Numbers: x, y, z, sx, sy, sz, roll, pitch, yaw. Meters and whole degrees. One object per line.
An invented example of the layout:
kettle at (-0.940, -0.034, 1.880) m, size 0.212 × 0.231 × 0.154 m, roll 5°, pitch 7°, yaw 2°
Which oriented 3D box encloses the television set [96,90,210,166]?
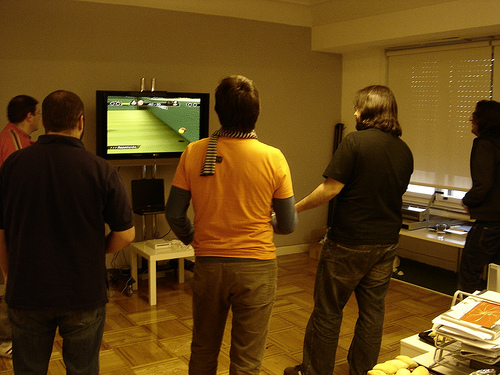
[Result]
television set at (-1.186, -0.731, 5.058) m, size 1.322 × 0.927 × 0.140 m, roll -1°, pitch -4°, yaw -6°

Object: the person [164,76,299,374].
person at (-0.109, 0.228, 2.147) m, size 0.674 × 1.590 × 0.320 m, roll 4°, pitch 9°, yaw 13°

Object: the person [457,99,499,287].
person at (2.190, 0.084, 3.838) m, size 0.272 × 1.779 × 0.382 m, roll -7°, pitch 13°, yaw -44°

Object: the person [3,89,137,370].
person at (-0.884, 0.220, 2.003) m, size 0.600 × 1.376 × 0.287 m, roll -3°, pitch 10°, yaw -26°

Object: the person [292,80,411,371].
person at (0.708, 0.304, 2.761) m, size 0.664 × 1.979 × 0.380 m, roll -5°, pitch 11°, yaw -35°
